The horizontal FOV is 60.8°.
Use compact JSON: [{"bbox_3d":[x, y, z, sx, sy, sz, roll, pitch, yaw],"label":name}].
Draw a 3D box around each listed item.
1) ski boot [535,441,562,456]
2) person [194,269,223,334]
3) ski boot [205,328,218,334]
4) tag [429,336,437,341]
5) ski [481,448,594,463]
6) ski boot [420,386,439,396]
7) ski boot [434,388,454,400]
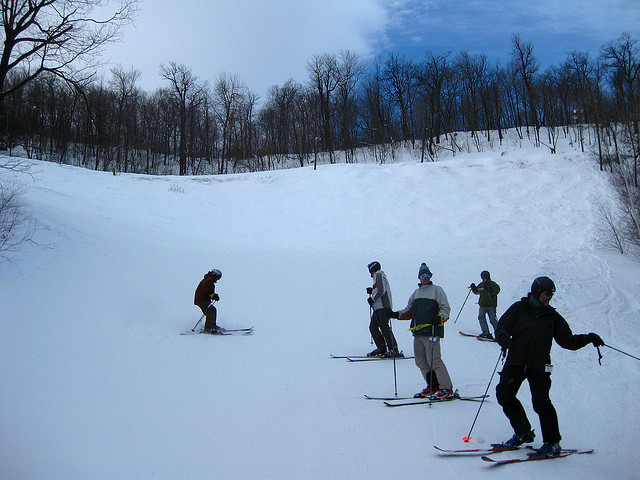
[{"bbox_3d":[4.556,4.168,10.979,0.574,0.287,0.213,-3,-9,-8],"label":"ski boot"},{"bbox_3d":[-3.254,1.837,15.858,0.714,1.603,0.870,-3,15,-14],"label":"person"},{"bbox_3d":[-3.125,2.639,15.721,0.365,0.104,0.161,-1,16,-5],"label":"ski boot"},{"bbox_3d":[2.643,2.308,12.693,0.066,0.116,0.114,23,-15,-21],"label":"tag"},{"bbox_3d":[4.412,4.341,10.958,2.261,0.170,0.172,-1,15,-6],"label":"ski"},{"bbox_3d":[2.541,3.512,12.705,0.424,0.245,0.175,3,-1,-9],"label":"ski boot"},{"bbox_3d":[2.866,3.533,12.558,0.456,0.266,0.190,2,-3,-3],"label":"ski boot"}]
